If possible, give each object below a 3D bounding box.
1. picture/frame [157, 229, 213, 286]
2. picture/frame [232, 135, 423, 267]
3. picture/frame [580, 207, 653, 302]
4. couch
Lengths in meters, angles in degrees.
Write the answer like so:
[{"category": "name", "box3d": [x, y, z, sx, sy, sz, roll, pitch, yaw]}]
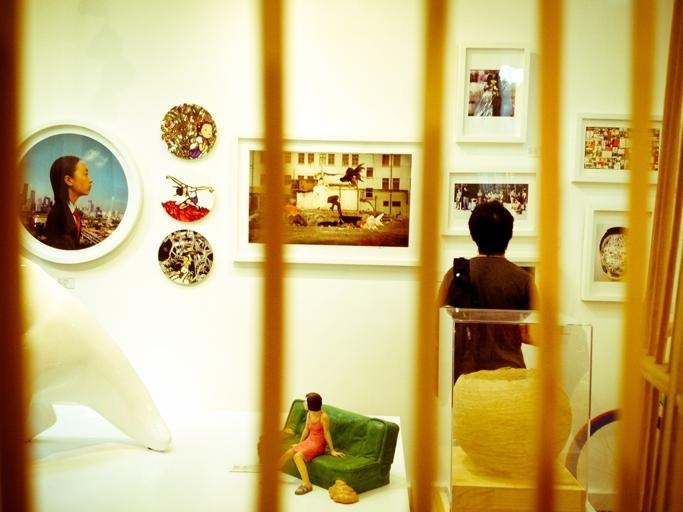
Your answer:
[{"category": "picture/frame", "box3d": [-0.665, -0.002, 2.429, 0.217, 0.245, 0.039, 3, 2, 10]}, {"category": "picture/frame", "box3d": [-0.005, -0.209, 2.001, 0.496, 0.394, 0.020, 1, 6, 3]}, {"category": "picture/frame", "box3d": [1.083, -0.009, 2.321, 0.177, 0.395, 0.100, 0, 3, 3]}, {"category": "couch", "box3d": [-0.028, 0.595, 1.811, 0.413, 0.194, 0.267, 2, 4, 29]}]
